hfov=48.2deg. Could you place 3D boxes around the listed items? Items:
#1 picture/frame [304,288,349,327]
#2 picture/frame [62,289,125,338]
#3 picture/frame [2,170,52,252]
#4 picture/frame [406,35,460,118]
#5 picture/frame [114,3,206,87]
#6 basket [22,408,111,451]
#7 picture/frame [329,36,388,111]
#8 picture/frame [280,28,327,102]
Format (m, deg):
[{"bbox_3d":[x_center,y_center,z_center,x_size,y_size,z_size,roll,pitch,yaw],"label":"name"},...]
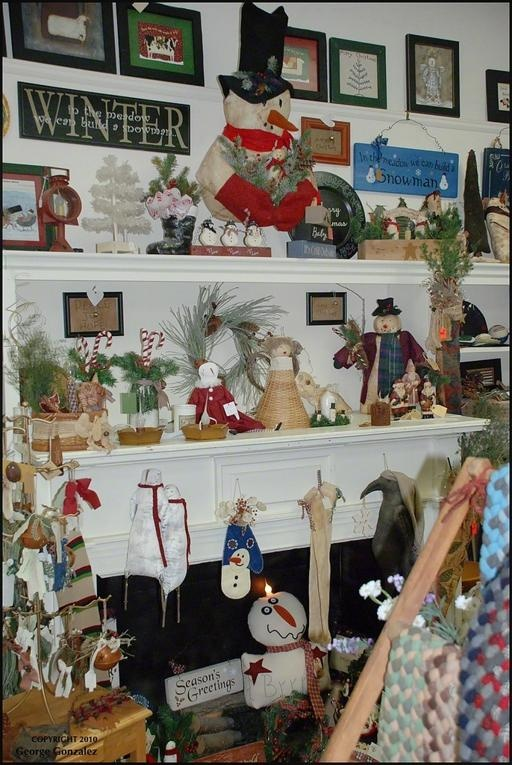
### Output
[{"bbox_3d":[0.277,-0.302,2.316,0.154,0.119,0.012,-2,0,-36],"label":"picture/frame"},{"bbox_3d":[-0.559,-0.234,1.926,0.171,0.131,0.013,-4,4,-34],"label":"picture/frame"},{"bbox_3d":[-0.692,-0.531,1.723,0.150,0.261,0.115,-8,10,-19],"label":"picture/frame"},{"bbox_3d":[0.730,-1.291,2.392,0.327,0.403,0.026,-6,11,-28],"label":"picture/frame"},{"bbox_3d":[-0.339,-1.141,1.924,0.321,0.280,0.027,-2,-2,-35],"label":"picture/frame"},{"bbox_3d":[-0.519,0.126,1.630,0.161,0.077,0.118,0,-1,-29],"label":"basket"},{"bbox_3d":[0.395,-1.229,2.258,0.314,0.296,0.024,-4,5,-32],"label":"picture/frame"},{"bbox_3d":[0.171,-1.193,2.132,0.302,0.317,0.021,-22,20,-39],"label":"picture/frame"}]
